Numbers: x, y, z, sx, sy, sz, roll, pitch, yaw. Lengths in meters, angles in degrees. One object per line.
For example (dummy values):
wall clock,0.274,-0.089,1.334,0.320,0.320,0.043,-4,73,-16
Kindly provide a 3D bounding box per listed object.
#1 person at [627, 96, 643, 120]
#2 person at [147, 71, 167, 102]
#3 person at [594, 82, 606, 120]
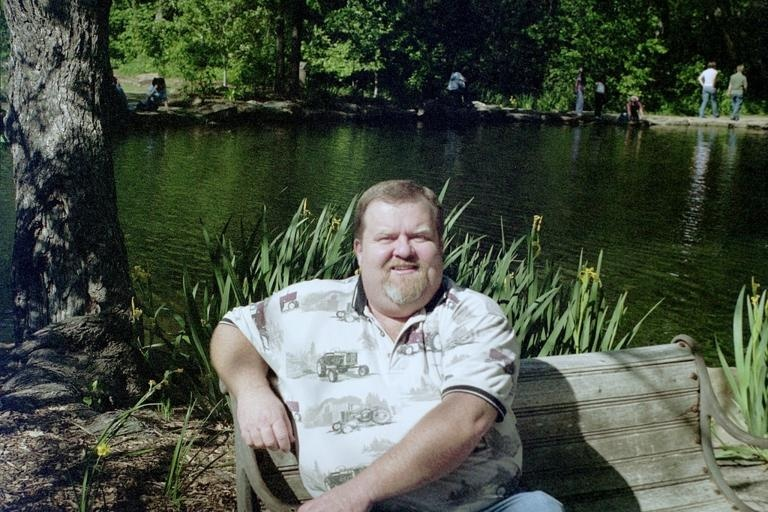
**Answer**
person,10.588,-6.159,29.039,0.605,1.039,1.481,3,11,20
person,-7.367,-5.301,22.318,0.456,0.838,1.114,-2,11,-6
person,9.437,-6.805,30.193,0.338,1.539,1.742,2,11,15
